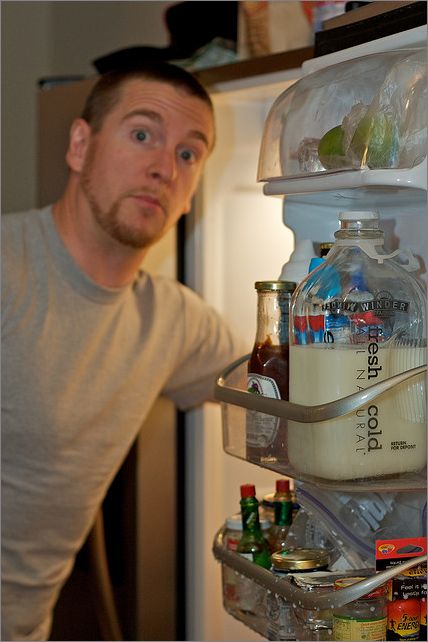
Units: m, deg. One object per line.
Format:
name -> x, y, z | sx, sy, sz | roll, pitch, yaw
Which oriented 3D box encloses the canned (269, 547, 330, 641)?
canned -> 0.119, 0.347, 0.811 | 0.119, 0.085, 0.110 | -9, -30, 10
